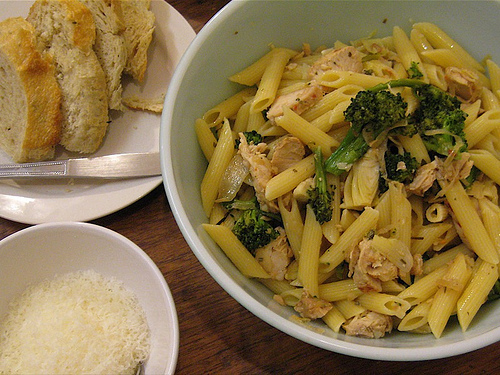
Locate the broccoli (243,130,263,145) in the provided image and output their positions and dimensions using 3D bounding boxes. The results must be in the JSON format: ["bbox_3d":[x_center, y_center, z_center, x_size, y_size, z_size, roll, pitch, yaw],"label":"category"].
[{"bbox_3d":[0.014,-0.262,2.324,0.074,0.044,0.074,27,51,13],"label":"broccoli"}]

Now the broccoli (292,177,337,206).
[{"bbox_3d":[0.286,0.023,2.219,0.164,0.053,0.156,3,81,8],"label":"broccoli"}]

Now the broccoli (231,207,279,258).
[{"bbox_3d":[0.024,0.226,2.218,0.206,0.089,0.205,-43,89,2],"label":"broccoli"}]

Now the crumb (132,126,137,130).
[{"bbox_3d":[-0.706,-0.368,2.778,0.023,0.012,0.018,39,52,7],"label":"crumb"}]

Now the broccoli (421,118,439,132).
[{"bbox_3d":[0.887,-0.308,2.185,0.066,0.021,0.058,7,84,16],"label":"broccoli"}]

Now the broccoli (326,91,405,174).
[{"bbox_3d":[0.532,-0.272,2.189,0.205,0.336,0.358,40,52,9],"label":"broccoli"}]

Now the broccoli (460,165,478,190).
[{"bbox_3d":[1.104,-0.053,2.285,0.028,0.085,0.109,26,94,21],"label":"broccoli"}]

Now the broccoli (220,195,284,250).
[{"bbox_3d":[0.021,0.177,2.255,0.228,0.109,0.267,-13,60,5],"label":"broccoli"}]

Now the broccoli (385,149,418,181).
[{"bbox_3d":[0.732,-0.105,2.148,0.137,0.065,0.137,-21,78,8],"label":"broccoli"}]

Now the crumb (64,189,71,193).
[{"bbox_3d":[-1.086,0.021,2.686,0.034,0.015,0.017,14,53,-13],"label":"crumb"}]

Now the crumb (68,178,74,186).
[{"bbox_3d":[-1.072,-0.032,2.686,0.032,0.010,0.033,0,88,15],"label":"crumb"}]

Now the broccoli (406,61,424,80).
[{"bbox_3d":[0.866,-0.605,2.350,0.082,0.036,0.083,-42,39,19],"label":"broccoli"}]
